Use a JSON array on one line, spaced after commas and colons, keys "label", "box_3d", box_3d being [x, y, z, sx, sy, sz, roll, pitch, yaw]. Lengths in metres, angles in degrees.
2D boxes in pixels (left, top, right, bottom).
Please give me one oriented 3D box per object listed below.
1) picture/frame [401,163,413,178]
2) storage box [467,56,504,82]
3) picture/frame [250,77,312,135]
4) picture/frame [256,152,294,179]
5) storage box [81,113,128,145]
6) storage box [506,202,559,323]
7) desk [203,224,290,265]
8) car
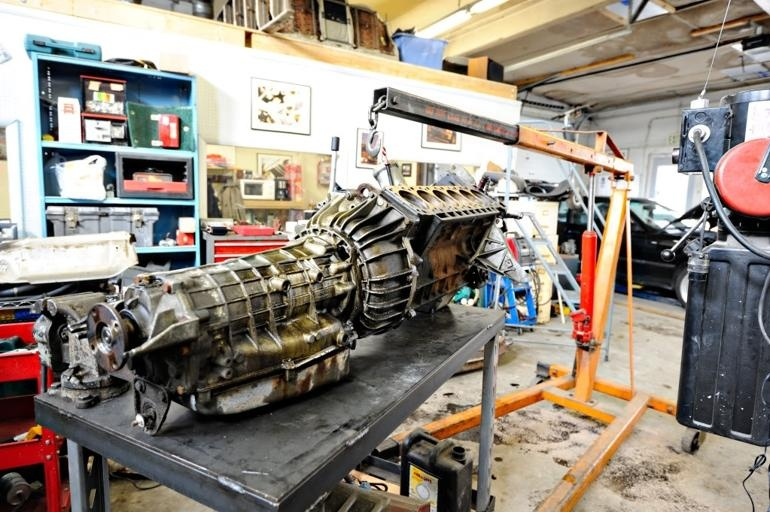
[{"label": "picture/frame", "box_3d": [0.297, -1.238, 7.258, 0.079, 0.197, 0.213, 3, 7, 32]}, {"label": "storage box", "box_3d": [1.473, -2.671, 7.277, 0.589, 0.336, 0.388, -2, 6, -6]}, {"label": "picture/frame", "box_3d": [-1.211, -1.709, 5.679, 0.775, 0.571, 0.033, -1, 3, -33]}, {"label": "picture/frame", "box_3d": [-1.343, -1.069, 5.982, 0.374, 0.249, 0.012, -2, 11, -21]}, {"label": "storage box", "box_3d": [-2.522, -1.135, 4.510, 0.240, 0.266, 0.416, 7, 9, 43]}, {"label": "storage box", "box_3d": [2.019, 0.069, 6.822, 0.545, 1.706, 1.250, 2, 7, 29]}, {"label": "desk", "box_3d": [-1.434, -0.135, 5.128, 0.825, 0.397, 0.366, -3, 6, -20]}, {"label": "car", "box_3d": [4.481, -0.363, 8.996, 1.906, 1.601, 3.331, -22, 16, -34]}]
